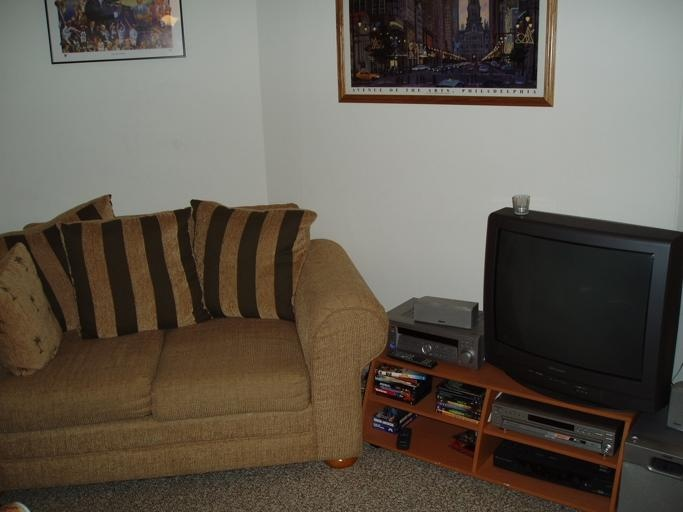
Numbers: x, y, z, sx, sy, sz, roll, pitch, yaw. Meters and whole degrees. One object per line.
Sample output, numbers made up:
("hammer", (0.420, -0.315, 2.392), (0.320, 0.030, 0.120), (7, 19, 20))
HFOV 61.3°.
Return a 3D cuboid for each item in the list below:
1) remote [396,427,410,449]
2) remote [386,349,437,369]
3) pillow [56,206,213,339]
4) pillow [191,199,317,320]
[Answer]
("remote", (0.316, 0.931, 2.929), (0.050, 0.039, 0.101), (0, 22, 13))
("remote", (0.358, 0.525, 2.922), (0.195, 0.036, 0.071), (11, 30, 29))
("pillow", (-1.078, 0.101, 2.992), (0.661, 0.643, 0.207), (-6, 1, -12))
("pillow", (-0.485, 0.049, 3.083), (0.538, 0.506, 0.260), (1, 14, 11))
